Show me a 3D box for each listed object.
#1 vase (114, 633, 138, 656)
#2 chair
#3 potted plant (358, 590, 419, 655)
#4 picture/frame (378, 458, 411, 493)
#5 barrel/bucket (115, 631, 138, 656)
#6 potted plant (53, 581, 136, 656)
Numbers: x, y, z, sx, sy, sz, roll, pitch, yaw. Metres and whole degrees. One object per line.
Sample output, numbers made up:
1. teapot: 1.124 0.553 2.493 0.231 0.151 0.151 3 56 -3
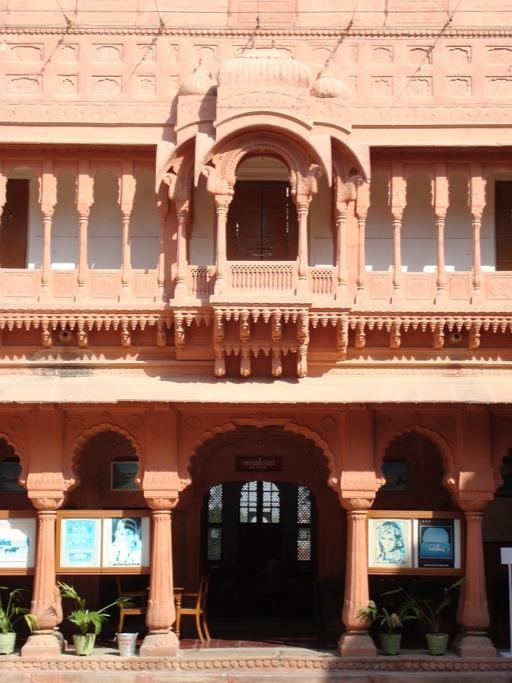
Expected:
1. vase: -1.637 3.783 15.245 0.280 0.234 0.232 -1 -10 4
2. chair: -1.343 3.737 17.012 1.487 1.069 0.578 -2 -15 5
3. potted plant: 1.641 3.587 15.460 0.688 0.759 0.884 -18 -23 36
4. picture/frame: 2.135 2.090 19.076 0.452 0.508 0.089 -1 -14 5
5. barrel/bucket: -1.619 3.778 15.244 0.278 0.231 0.235 -3 -11 11
6. potted plant: -2.211 3.590 15.604 1.266 0.807 1.238 5 -7 -17
